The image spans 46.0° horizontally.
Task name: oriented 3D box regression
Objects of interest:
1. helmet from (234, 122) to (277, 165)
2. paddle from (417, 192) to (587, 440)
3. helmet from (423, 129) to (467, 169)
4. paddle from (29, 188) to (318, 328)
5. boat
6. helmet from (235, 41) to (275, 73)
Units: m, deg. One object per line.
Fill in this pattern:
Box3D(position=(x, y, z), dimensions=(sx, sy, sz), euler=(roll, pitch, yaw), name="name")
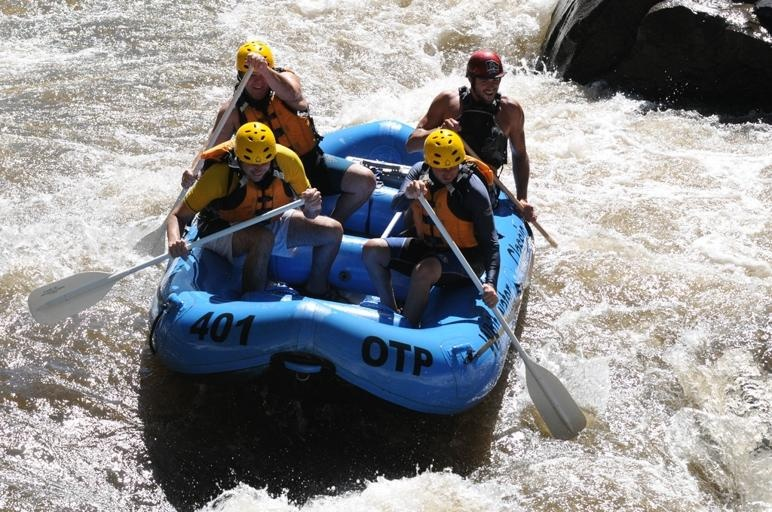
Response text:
Box3D(position=(-1.227, -1.057, 8.570), dimensions=(0.316, 0.255, 0.417), euler=(-6, 48, -10), name="helmet")
Box3D(position=(1.096, 0.675, 8.965), dimensions=(0.528, 3.635, 0.130), euler=(-33, 8, -13), name="paddle")
Box3D(position=(0.578, -1.011, 8.704), dimensions=(0.354, 0.254, 0.493), euler=(-8, 12, 11), name="helmet")
Box3D(position=(-2.109, 0.076, 9.207), dimensions=(3.291, 0.481, 0.264), euler=(-22, 9, -2), name="paddle")
Box3D(position=(-0.392, 0.091, 9.254), dimensions=(3.615, 1.351, 2.649), euler=(9, 36, 2), name="boat")
Box3D(position=(-1.324, -2.027, 9.248), dimensions=(0.346, 0.283, 0.482), euler=(-1, 37, -11), name="helmet")
